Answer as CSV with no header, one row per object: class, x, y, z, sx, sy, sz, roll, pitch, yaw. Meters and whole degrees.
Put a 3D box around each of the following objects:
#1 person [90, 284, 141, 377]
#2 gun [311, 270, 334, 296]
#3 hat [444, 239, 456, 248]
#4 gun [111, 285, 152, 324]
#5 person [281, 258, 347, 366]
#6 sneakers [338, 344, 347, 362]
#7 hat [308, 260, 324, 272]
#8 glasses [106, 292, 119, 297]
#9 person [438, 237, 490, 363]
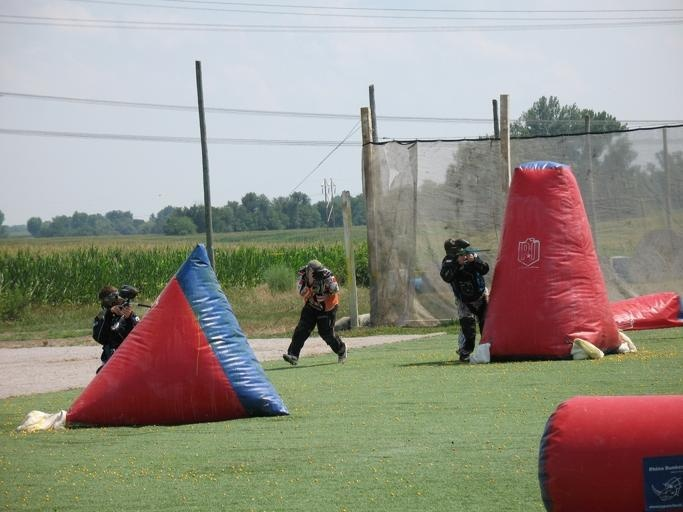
person,-3.294,1.069,18.612,0.686,1.207,0.897,-5,4,-31
gun,-0.304,0.461,21.542,0.398,0.458,0.196,-4,3,-12
hat,1.807,-0.162,21.017,0.159,0.185,0.124,0,24,-16
gun,-3.043,0.643,18.552,0.921,0.427,0.290,1,-23,42
person,-0.447,0.973,21.967,1.022,1.807,1.200,-3,3,-1
sneakers,0.026,1.695,21.697,0.097,0.307,0.124,3,-14,25
hat,-0.425,0.181,21.577,0.205,0.189,0.163,-4,5,19
glasses,-3.350,0.581,18.745,0.087,0.072,0.081,4,-6,-41
person,2.046,0.710,20.814,0.755,1.952,0.671,-3,3,4
